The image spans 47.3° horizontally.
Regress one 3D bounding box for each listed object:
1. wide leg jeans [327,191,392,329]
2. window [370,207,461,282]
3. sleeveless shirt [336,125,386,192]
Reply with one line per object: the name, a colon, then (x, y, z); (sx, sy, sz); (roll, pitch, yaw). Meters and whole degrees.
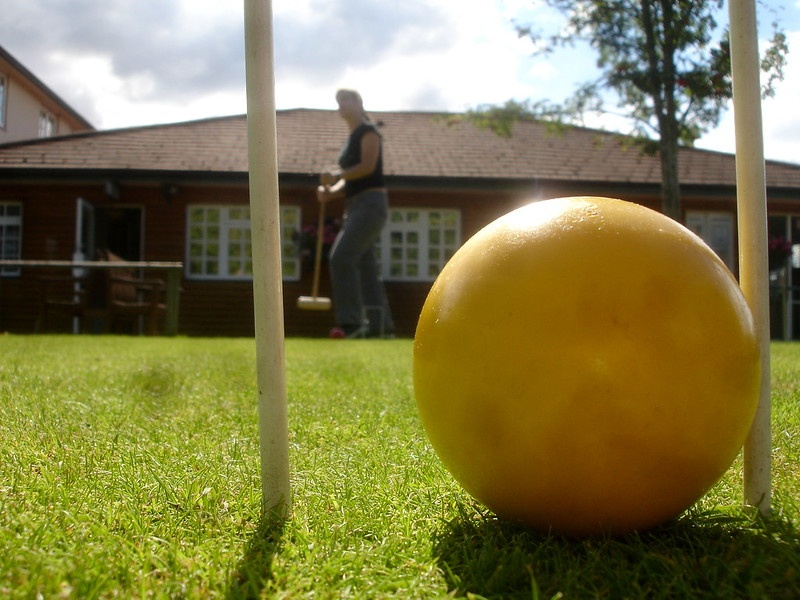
wide leg jeans: (-0.492, -0.424, 9.941); (0.781, 2.247, 0.694); (0, 39, -8)
window: (0.177, -0.811, 12.499); (1.255, 1.254, 0.090); (1, 2, -4)
sleeveless shirt: (-0.339, -1.265, 8.415); (0.450, 0.875, 0.701); (-3, 9, -6)
